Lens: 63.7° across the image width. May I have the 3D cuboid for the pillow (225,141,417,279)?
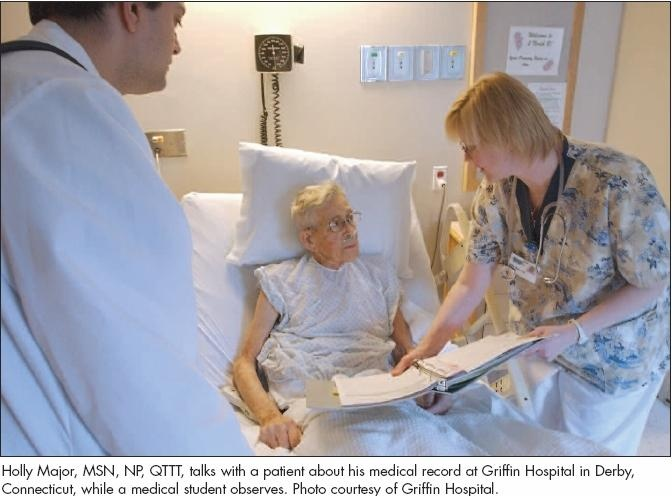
[{"bbox_3d":[-0.084,-0.149,2.429,0.597,0.444,0.100,6,-14,-6],"label":"pillow"}]

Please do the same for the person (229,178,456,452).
[{"bbox_3d":[0.042,0.247,1.995,0.798,0.908,1.195,-1,12,-10],"label":"person"}]
